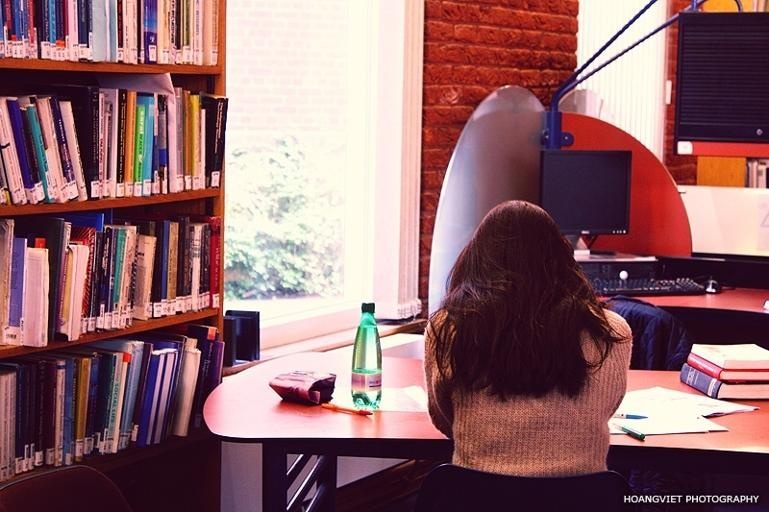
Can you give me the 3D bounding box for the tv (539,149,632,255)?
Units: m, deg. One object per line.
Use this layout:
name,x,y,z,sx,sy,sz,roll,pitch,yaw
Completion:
tv,1.184,-0.369,4.195,0.054,0.488,0.584,-7,8,-44

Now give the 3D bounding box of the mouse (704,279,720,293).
mouse,1.876,0.174,4.091,0.064,0.034,0.096,4,16,20
